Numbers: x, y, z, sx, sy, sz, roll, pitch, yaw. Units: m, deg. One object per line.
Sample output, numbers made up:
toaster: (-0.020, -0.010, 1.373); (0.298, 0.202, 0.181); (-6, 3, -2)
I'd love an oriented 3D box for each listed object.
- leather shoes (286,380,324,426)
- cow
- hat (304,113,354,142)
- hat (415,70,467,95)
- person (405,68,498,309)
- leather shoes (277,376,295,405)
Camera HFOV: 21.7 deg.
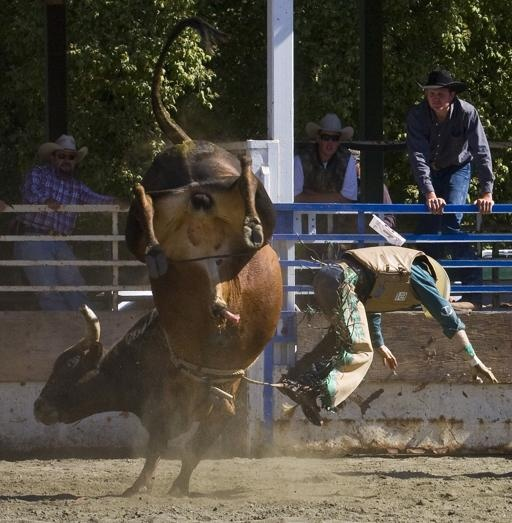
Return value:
leather shoes: (0.407, 1.189, 10.838); (0.186, 0.365, 0.261); (-19, 44, -15)
cow: (-0.567, 0.534, 10.173); (1.145, 2.890, 2.029); (-4, 7, -26)
hat: (0.778, -1.418, 14.019); (0.320, 0.159, 0.373); (9, -19, 3)
hat: (1.774, -1.675, 12.649); (0.323, 0.153, 0.394); (5, 0, 7)
person: (1.821, -0.695, 12.667); (0.706, 2.265, 0.971); (-9, 17, -19)
leather shoes: (0.255, 1.017, 10.811); (0.189, 0.139, 0.076); (41, 19, 21)
